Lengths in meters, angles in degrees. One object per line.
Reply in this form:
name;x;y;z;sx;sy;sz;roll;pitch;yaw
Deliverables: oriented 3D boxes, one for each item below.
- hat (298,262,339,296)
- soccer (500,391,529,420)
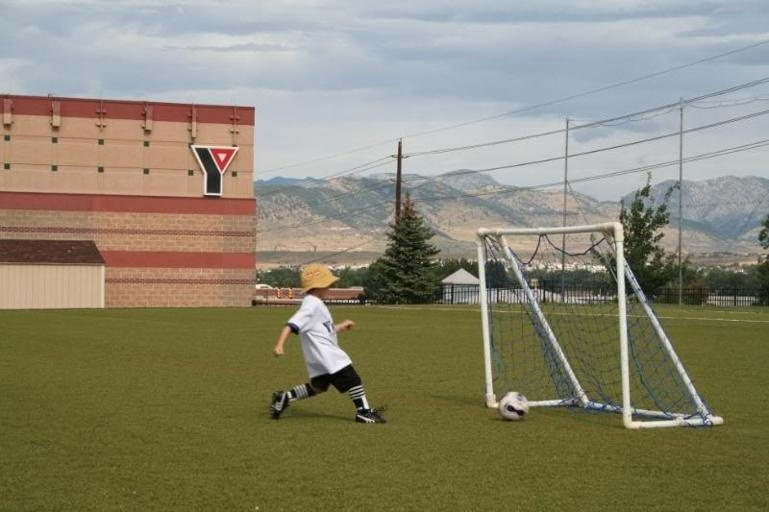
hat;-1.333;0.499;23.476;0.770;0.342;0.759;-14;1;-44
soccer;2.872;3.366;23.746;0.635;0.579;0.260;-1;2;4
